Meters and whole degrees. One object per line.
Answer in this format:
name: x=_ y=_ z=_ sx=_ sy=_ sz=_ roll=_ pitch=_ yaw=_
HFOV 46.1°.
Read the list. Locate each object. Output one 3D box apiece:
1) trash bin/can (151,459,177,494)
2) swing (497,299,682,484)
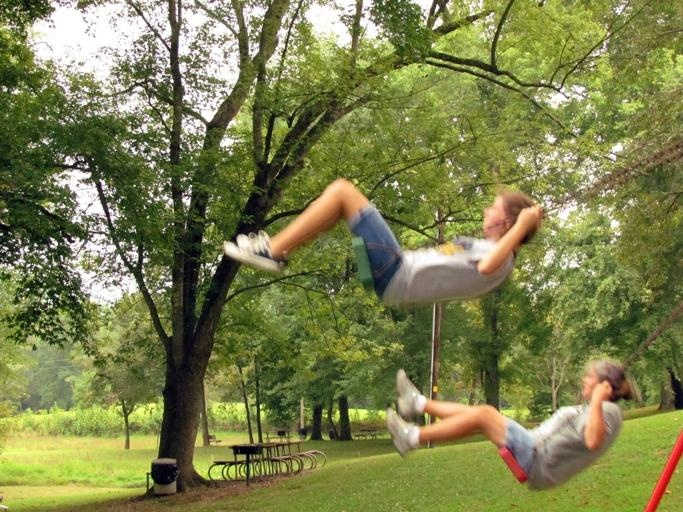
trash bin/can: x=-5.005 y=6.253 z=22.856 sx=0.926 sy=0.938 sz=0.935 roll=0 pitch=-8 yaw=-2
swing: x=4.015 y=2.938 z=14.101 sx=2.316 sy=2.119 sz=0.519 roll=-6 pitch=-16 yaw=9
